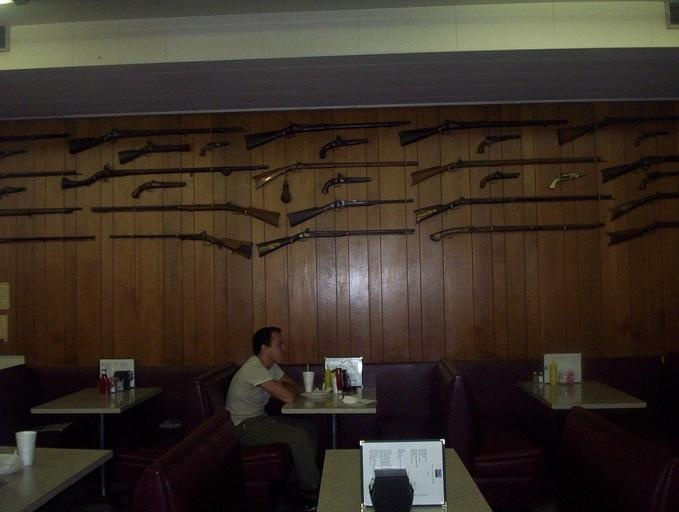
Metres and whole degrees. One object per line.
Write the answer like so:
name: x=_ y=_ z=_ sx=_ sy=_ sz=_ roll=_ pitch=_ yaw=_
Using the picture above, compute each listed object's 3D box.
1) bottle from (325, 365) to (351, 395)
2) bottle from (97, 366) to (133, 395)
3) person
bottle: x=-0.017 y=1.118 z=6.640 sx=0.242 sy=0.235 sz=0.251 roll=-3 pitch=0 yaw=-2
bottle: x=-2.164 y=1.174 z=6.911 sx=0.199 sy=0.179 sz=0.218 roll=-1 pitch=0 yaw=-7
person: x=-0.605 y=1.431 z=6.579 sx=0.876 sy=1.583 sz=0.725 roll=-3 pitch=0 yaw=11
